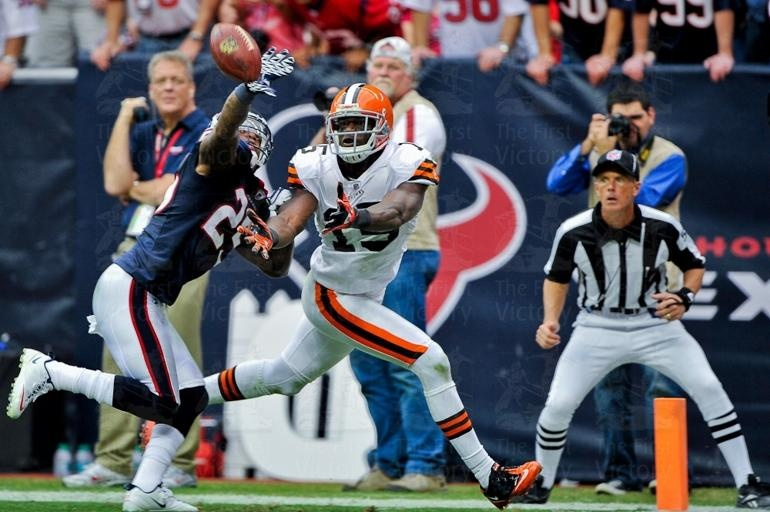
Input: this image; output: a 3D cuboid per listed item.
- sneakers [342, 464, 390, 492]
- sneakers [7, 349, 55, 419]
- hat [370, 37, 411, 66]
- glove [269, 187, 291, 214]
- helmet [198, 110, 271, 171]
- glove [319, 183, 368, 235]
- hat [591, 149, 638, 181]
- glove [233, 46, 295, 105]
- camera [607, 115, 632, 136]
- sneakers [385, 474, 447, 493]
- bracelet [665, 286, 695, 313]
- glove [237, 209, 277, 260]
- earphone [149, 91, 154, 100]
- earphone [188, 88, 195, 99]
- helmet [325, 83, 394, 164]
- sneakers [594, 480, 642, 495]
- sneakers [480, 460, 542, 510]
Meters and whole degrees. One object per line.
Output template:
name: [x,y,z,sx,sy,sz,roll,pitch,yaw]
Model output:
sneakers: [-0.078,1.417,7.798,0.367,0.142,0.119,-1,-11,10]
sneakers: [-1.999,0.691,7.003,0.248,0.451,0.193,9,-15,7]
hat: [0.047,-1.333,7.960,0.229,0.096,0.175,2,5,0]
glove: [-0.618,-0.329,7.019,0.107,0.149,0.057,38,-12,13]
helmet: [-0.823,-0.665,7.126,0.311,0.344,0.370,39,0,-7]
glove: [-0.214,-0.256,6.681,0.235,0.303,0.393,0,10,-3]
hat: [1.373,-0.552,7.357,0.272,0.171,0.162,2,10,7]
glove: [-0.656,-0.957,6.689,0.313,0.106,0.353,24,32,15]
camera: [1.451,-0.828,7.656,0.130,0.116,0.126,9,19,17]
sneakers: [0.190,1.405,7.681,0.355,0.131,0.123,4,-10,-11]
bracelet: [1.772,0.259,7.371,0.135,0.097,0.179,38,9,24]
glove: [-0.685,-0.129,6.593,0.136,0.249,0.253,-30,-19,-2]
earphone: [-1.473,-1.013,7.739,0.046,0.042,0.011,3,5,30]
earphone: [-1.231,-1.044,7.808,0.056,0.047,0.046,1,-1,-13]
helmet: [-0.144,-0.757,6.944,0.355,0.382,0.471,0,9,17]
sneakers: [1.445,1.430,7.635,0.266,0.094,0.101,2,-4,5]
sneakers: [0.702,1.275,6.961,0.227,0.155,0.423,30,-51,-24]
